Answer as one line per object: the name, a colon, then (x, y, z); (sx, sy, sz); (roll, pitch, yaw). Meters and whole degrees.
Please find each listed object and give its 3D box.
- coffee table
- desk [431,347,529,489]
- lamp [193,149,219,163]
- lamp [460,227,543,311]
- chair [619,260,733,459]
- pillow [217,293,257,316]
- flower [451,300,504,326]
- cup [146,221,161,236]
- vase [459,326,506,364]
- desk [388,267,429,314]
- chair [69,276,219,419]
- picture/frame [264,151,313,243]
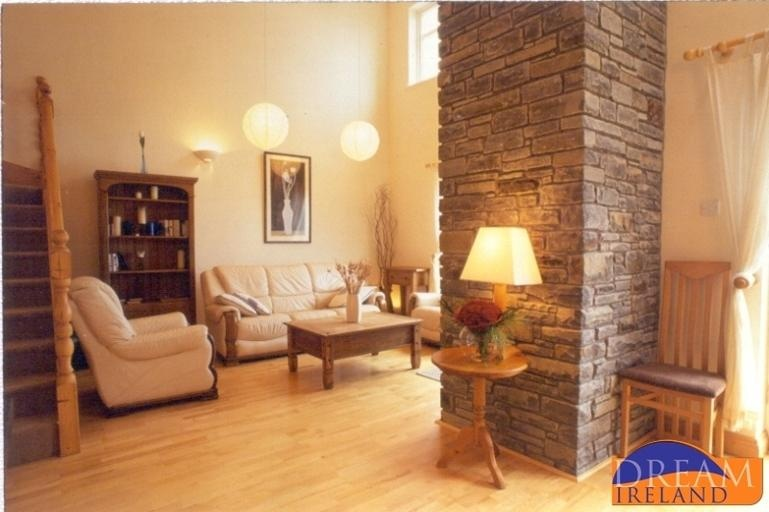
coffee table: (-0.362, 1.048, 6.122); (1.321, 0.660, 0.894); (-6, 3, -35)
desk: (0.893, 1.217, 4.413); (1.008, 1.124, 0.976); (0, 7, 0)
lamp: (-2.380, -1.358, 7.059); (0.217, 0.084, 0.210); (-2, -8, 4)
lamp: (0.900, 0.006, 4.331); (0.640, 0.755, 0.762); (-3, 7, -31)
chair: (2.379, 0.827, 4.269); (0.750, 1.527, 0.720); (-2, 5, 35)
pillow: (-1.773, 0.614, 6.349); (0.470, 0.306, 0.289); (-5, 3, -16)
flower: (0.721, 0.408, 3.982); (0.257, 0.127, 0.235); (0, -2, -21)
cup: (-2.900, -0.347, 6.657); (0.131, 0.169, 0.210); (-3, -5, 39)
vase: (0.751, 0.680, 4.024); (0.300, 0.219, 0.261); (-1, 2, -10)
desk: (0.390, 0.509, 7.861); (0.521, 0.893, 0.768); (2, -2, -29)
chair: (-2.390, 0.832, 5.466); (1.376, 1.240, 1.312); (-2, 4, -26)
picture/frame: (-1.428, -0.864, 7.788); (0.806, 1.308, 0.055); (-7, 5, -35)
